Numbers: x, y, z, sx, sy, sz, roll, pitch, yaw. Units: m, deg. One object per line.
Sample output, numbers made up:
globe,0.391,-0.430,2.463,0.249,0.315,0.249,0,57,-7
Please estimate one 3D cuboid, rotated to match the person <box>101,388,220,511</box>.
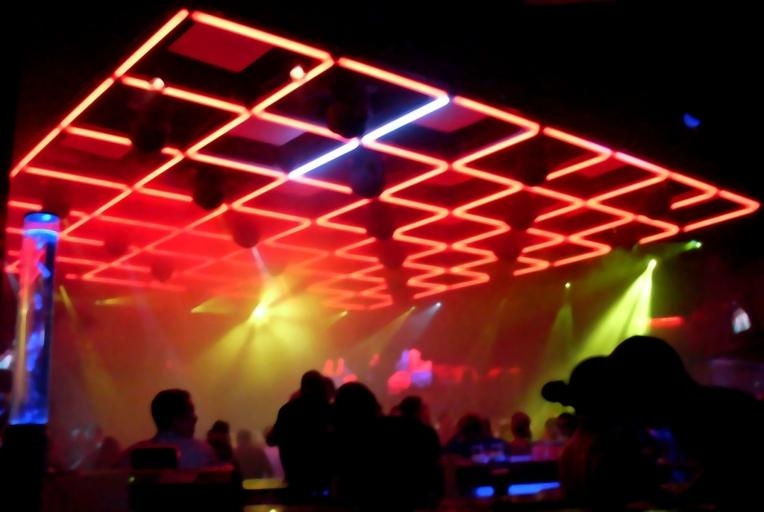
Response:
person,-1.987,1.843,6.676,1.344,1.093,0.691,-8,-17,14
